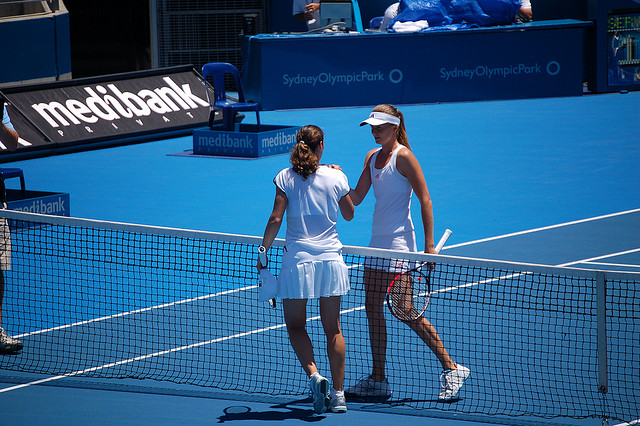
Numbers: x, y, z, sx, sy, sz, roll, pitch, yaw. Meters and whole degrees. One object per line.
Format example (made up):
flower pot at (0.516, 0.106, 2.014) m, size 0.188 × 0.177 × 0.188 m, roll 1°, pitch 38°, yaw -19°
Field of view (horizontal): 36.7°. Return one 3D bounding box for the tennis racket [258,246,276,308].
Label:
tennis racket at (-0.608, 0.743, 11.256) m, size 0.150 × 0.751 × 0.221 m, roll -3°, pitch 11°, yaw -2°

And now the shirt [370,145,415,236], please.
shirt at (0.839, -0.277, 11.716) m, size 0.442 × 1.108 × 0.593 m, roll 0°, pitch 0°, yaw 1°

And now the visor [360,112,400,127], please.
visor at (0.717, -1.123, 11.597) m, size 0.465 × 0.173 × 0.258 m, roll -1°, pitch 11°, yaw 10°

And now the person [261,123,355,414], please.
person at (-0.004, 0.579, 11.492) m, size 0.983 × 3.045 × 1.301 m, roll 1°, pitch 2°, yaw 22°

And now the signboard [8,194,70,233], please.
signboard at (-4.618, 0.030, 15.461) m, size 0.833 × 0.553 × 1.102 m, roll 0°, pitch 11°, yaw 12°

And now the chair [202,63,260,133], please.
chair at (-1.942, -2.452, 21.206) m, size 0.976 × 1.605 × 1.167 m, roll -12°, pitch 15°, yaw -43°

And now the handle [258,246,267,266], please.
handle at (-0.656, 0.497, 11.148) m, size 0.072 × 0.224 × 0.073 m, roll -2°, pitch 11°, yaw 2°

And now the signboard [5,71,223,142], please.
signboard at (-4.582, -2.418, 21.812) m, size 4.480 × 1.246 × 0.743 m, roll -11°, pitch 14°, yaw -39°
